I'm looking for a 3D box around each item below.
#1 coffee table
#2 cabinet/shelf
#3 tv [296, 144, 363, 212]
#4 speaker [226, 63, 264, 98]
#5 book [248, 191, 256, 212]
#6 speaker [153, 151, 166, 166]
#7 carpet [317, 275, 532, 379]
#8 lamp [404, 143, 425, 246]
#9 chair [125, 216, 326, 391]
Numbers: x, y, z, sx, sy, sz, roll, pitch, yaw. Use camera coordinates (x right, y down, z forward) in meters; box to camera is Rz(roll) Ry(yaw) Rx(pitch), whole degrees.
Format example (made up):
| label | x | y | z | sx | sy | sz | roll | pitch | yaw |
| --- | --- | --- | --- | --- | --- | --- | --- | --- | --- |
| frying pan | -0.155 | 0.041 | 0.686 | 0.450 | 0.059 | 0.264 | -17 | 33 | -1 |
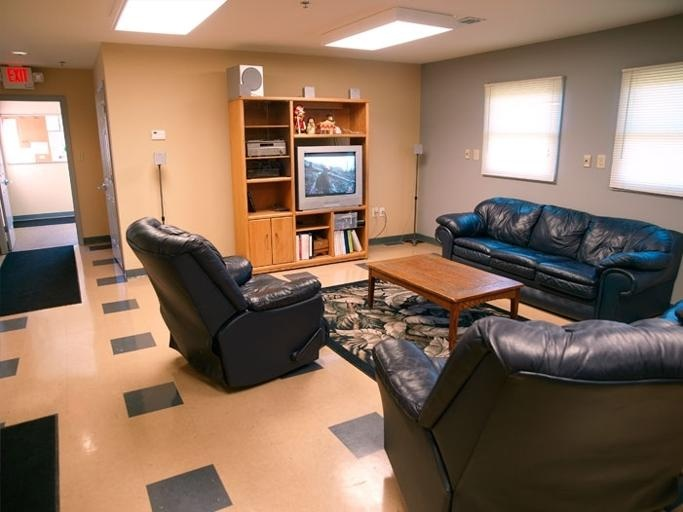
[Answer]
| label | x | y | z | sx | sy | sz | roll | pitch | yaw |
| --- | --- | --- | --- | --- | --- | --- | --- | --- | --- |
| coffee table | 1.086 | 0.237 | 4.605 | 0.873 | 0.473 | 1.237 | -8 | 18 | -27 |
| cabinet/shelf | -0.596 | -0.919 | 6.419 | 2.169 | 2.475 | 0.635 | -6 | 16 | -24 |
| tv | -0.183 | -1.044 | 6.525 | 0.826 | 0.694 | 0.442 | -7 | 16 | -29 |
| speaker | -1.126 | -2.117 | 6.025 | 0.440 | 0.445 | 0.441 | -10 | 21 | -35 |
| book | -1.167 | -0.699 | 6.389 | 0.051 | 0.217 | 0.216 | -7 | 13 | -16 |
| speaker | -2.163 | -1.159 | 5.851 | 0.144 | 0.142 | 0.141 | -5 | 19 | -21 |
| carpet | 0.462 | 0.638 | 4.842 | 0.820 | 0.283 | 1.165 | -7 | 16 | -30 |
| lamp | 1.182 | -0.980 | 7.825 | 0.222 | 1.545 | 0.335 | 2 | 14 | 11 |
| chair | -0.937 | 0.272 | 4.131 | 1.515 | 1.358 | 1.218 | -11 | 19 | -39 |
